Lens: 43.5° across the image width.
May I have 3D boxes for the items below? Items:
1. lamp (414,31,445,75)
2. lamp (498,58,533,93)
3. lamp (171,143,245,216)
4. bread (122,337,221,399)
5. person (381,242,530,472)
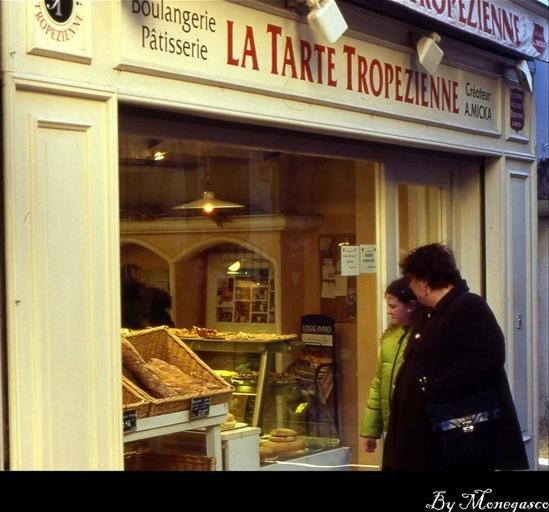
[{"bbox_3d":[1.033,-1.373,4.629,0.158,0.271,0.145,-3,-5,38],"label":"lamp"},{"bbox_3d":[1.917,-1.420,5.411,0.165,0.238,0.239,-4,-4,40],"label":"lamp"},{"bbox_3d":[-0.389,-0.377,4.109,0.381,0.278,0.388,-1,2,-22],"label":"lamp"},{"bbox_3d":[-0.544,0.621,3.687,0.370,0.103,0.369,39,11,31],"label":"bread"},{"bbox_3d":[1.075,0.727,4.154,0.832,1.173,0.477,-2,-4,14],"label":"person"}]
